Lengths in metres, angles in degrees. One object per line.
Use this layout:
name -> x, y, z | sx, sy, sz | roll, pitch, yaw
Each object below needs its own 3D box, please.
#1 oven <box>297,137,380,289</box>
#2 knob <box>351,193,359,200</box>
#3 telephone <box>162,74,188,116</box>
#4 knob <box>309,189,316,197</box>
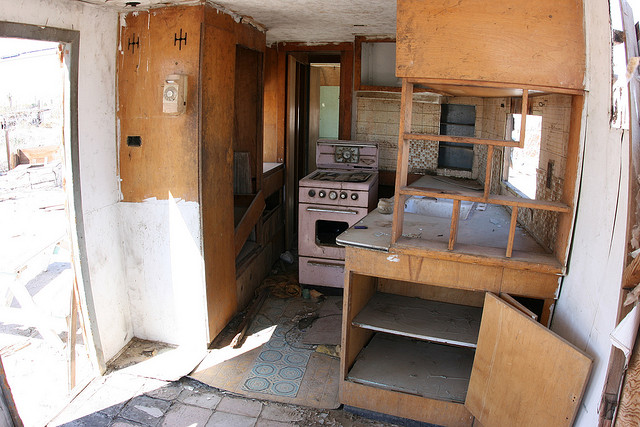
oven -> 0.219, 0.008, 5.688 | 0.975, 1.680, 1.230 | 1, 16, 6
knob -> 0.398, -0.190, 5.254 | 0.064, 0.064, 0.065 | 2, 8, 26
telephone -> -1.296, -1.054, 4.008 | 0.180, 0.306, 0.168 | 2, 3, 27
knob -> -0.087, -0.239, 5.330 | 0.073, 0.079, 0.021 | -1, 16, -1
